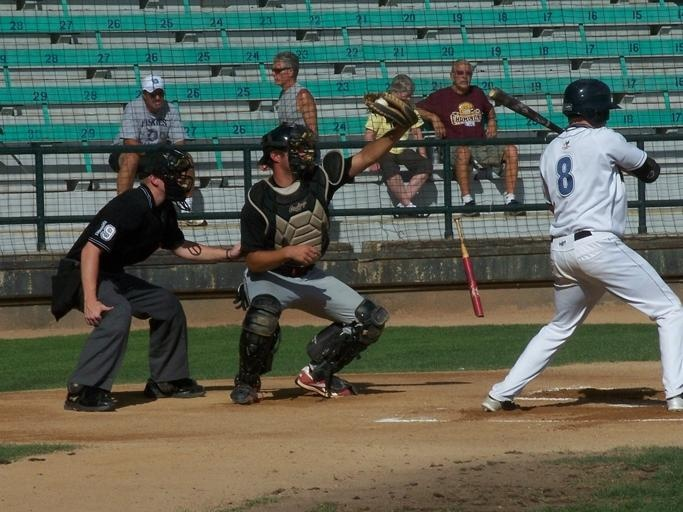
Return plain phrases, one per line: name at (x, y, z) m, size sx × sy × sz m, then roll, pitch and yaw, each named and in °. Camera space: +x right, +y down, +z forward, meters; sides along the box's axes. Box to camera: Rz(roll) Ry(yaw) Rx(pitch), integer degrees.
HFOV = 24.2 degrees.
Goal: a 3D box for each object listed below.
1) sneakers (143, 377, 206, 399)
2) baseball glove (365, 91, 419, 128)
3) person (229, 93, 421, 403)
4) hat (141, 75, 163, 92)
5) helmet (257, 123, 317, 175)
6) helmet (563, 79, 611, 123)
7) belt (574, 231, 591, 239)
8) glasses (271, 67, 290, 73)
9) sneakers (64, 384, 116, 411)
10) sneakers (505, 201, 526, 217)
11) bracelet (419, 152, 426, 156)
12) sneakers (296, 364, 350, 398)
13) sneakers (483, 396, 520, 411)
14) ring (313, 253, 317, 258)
sneakers at (-1.727, 1.362, 16.426) m, size 0.698 × 0.240 × 0.217 m, roll -1°, pitch 2°, yaw -7°
baseball glove at (0.520, -1.456, 15.952) m, size 0.563 × 0.264 × 0.262 m, roll 32°, pitch 18°, yaw -5°
person at (-0.317, -0.039, 16.067) m, size 1.797 × 3.112 × 0.853 m, roll -3°, pitch 16°, yaw -4°
hat at (-2.404, -2.160, 20.057) m, size 0.235 × 0.163 × 0.322 m, roll -4°, pitch 4°, yaw -20°
helmet at (-0.538, -1.072, 16.130) m, size 0.706 × 0.460 × 0.476 m, roll -3°, pitch 4°, yaw 15°
helmet at (2.381, -1.486, 15.449) m, size 0.570 × 0.360 × 0.362 m, roll -5°, pitch 15°, yaw -3°
belt at (2.294, -0.190, 15.157) m, size 0.166 × 0.089 × 0.040 m, roll 1°, pitch 16°, yaw 12°
glasses at (-0.779, -2.278, 19.667) m, size 0.102 × 0.074 × 0.232 m, roll -14°, pitch 18°, yaw -42°
sneakers at (-2.526, 1.439, 15.926) m, size 0.581 × 0.213 × 0.209 m, roll -1°, pitch 0°, yaw 11°
sneakers at (2.178, -0.572, 20.060) m, size 0.145 × 0.136 × 0.373 m, roll 1°, pitch 3°, yaw 1°
bracelet at (1.010, -1.261, 19.883) m, size 0.054 × 0.031 × 0.047 m, roll 2°, pitch 11°, yaw 8°
sneakers at (-0.201, 1.295, 16.359) m, size 0.622 × 0.217 × 0.279 m, roll 9°, pitch 7°, yaw -1°
sneakers at (1.543, 1.436, 15.513) m, size 0.375 × 0.101 × 0.143 m, roll -2°, pitch 2°, yaw -11°
ring at (-0.271, 0.009, 15.737) m, size 0.033 × 0.026 × 0.027 m, roll 7°, pitch -21°, yaw -5°
